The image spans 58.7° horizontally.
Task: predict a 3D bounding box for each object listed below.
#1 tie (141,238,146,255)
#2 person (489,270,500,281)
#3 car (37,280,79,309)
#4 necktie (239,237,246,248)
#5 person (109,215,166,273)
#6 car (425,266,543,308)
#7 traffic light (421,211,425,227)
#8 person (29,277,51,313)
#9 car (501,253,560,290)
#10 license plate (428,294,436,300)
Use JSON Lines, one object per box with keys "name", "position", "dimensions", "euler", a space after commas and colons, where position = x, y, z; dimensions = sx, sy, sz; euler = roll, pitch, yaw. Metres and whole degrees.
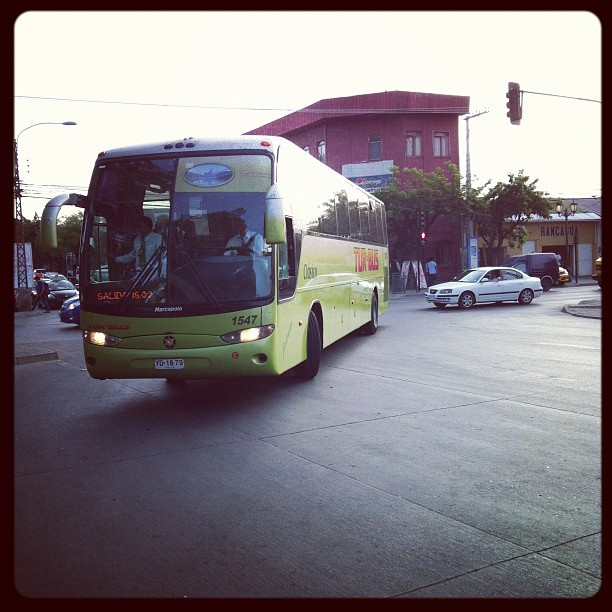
{"name": "tie", "position": [-2.169, -0.798, 7.273], "dimensions": [0.080, 0.216, 0.068], "euler": [-2, 2, 4]}
{"name": "person", "position": [8.302, -1.306, 23.962], "dimensions": [0.418, 0.446, 0.768], "euler": [-2, 21, 16]}
{"name": "car", "position": [-13.468, -0.597, 29.372], "dimensions": [1.555, 1.317, 3.554], "euler": [-2, 1, -24]}
{"name": "necktie", "position": [-0.842, -0.853, 7.271], "dimensions": [0.026, 0.100, 0.104], "euler": [-21, 42, -14]}
{"name": "person", "position": [-2.223, -0.802, 7.283], "dimensions": [0.576, 0.921, 0.300], "euler": [-7, -12, 26]}
{"name": "car", "position": [7.923, -0.821, 23.942], "dimensions": [4.991, 1.687, 0.849], "euler": [-3, 2, -17]}
{"name": "traffic light", "position": [7.752, -5.700, 35.971], "dimensions": [0.160, 0.844, 0.287], "euler": [-1, 2, 27]}
{"name": "person", "position": [-15.337, -0.611, 31.747], "dimensions": [0.444, 1.594, 1.718], "euler": [-4, 2, -42]}
{"name": "car", "position": [13.807, -2.169, 33.905], "dimensions": [3.689, 2.302, 2.255], "euler": [0, 1, -9]}
{"name": "license plate", "position": [5.482, -0.382, 23.555], "dimensions": [0.216, 0.221, 0.705], "euler": [-1, -1, 15]}
